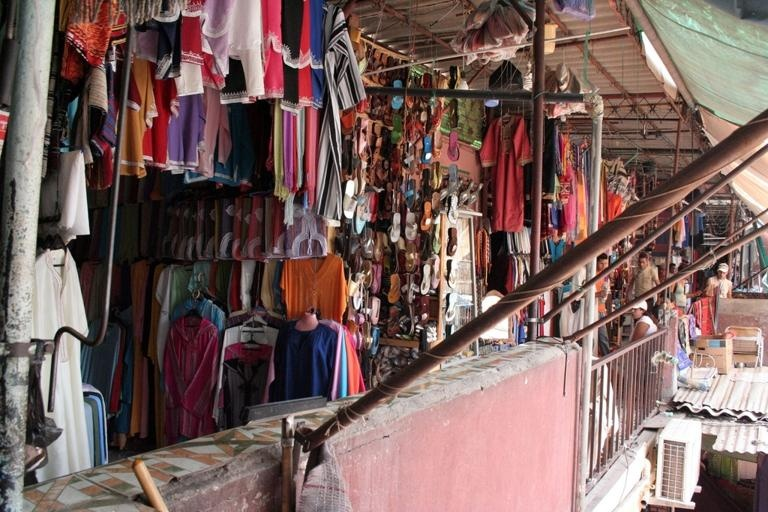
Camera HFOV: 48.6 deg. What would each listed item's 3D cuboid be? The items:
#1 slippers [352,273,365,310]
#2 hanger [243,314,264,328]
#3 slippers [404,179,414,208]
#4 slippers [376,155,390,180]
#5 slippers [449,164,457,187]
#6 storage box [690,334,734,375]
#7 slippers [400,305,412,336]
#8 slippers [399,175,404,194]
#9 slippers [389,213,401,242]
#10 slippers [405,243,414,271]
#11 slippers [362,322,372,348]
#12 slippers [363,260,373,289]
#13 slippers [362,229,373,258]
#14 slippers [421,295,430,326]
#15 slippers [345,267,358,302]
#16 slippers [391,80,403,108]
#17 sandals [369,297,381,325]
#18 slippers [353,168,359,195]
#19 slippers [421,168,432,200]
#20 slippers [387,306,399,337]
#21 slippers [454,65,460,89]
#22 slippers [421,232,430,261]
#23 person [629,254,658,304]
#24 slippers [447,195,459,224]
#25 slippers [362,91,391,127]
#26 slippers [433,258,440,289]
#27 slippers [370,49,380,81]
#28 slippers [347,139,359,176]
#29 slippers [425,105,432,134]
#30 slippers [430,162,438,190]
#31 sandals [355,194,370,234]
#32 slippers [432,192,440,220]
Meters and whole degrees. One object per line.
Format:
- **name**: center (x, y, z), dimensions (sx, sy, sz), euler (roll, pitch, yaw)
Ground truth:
- **slippers**: center (-0.239, 0.305, 7.702), dimensions (0.055, 0.305, 0.100), euler (-4, -12, 37)
- **hanger**: center (-1.124, 0.565, 7.411), dimensions (0.104, 0.070, 0.124), euler (2, -9, 17)
- **slippers**: center (0.250, -0.622, 8.462), dimensions (0.058, 0.287, 0.094), euler (0, 3, 33)
- **slippers**: center (0.008, -0.856, 8.275), dimensions (0.117, 0.210, 0.047), euler (3, 1, -39)
- **slippers**: center (0.715, -0.824, 8.749), dimensions (0.061, 0.276, 0.096), euler (2, -7, -4)
- **storage box**: center (4.530, 1.339, 11.691), dimensions (0.410, 0.539, 0.463), euler (-2, -5, 28)
- **slippers**: center (0.219, 0.644, 8.499), dimensions (0.088, 0.321, 0.103), euler (6, 10, 32)
- **slippers**: center (0.172, -0.700, 8.322), dimensions (0.038, 0.169, 0.054), euler (2, 0, -18)
- **slippers**: center (0.116, -0.282, 8.397), dimensions (0.092, 0.300, 0.066), euler (2, 12, -6)
- **slippers**: center (0.255, 0.010, 8.437), dimensions (0.096, 0.248, 0.069), euler (1, 6, 27)
- **slippers**: center (-0.159, 0.734, 7.971), dimensions (0.046, 0.213, 0.112), euler (4, -4, -8)
- **slippers**: center (-0.165, 0.160, 8.127), dimensions (0.042, 0.256, 0.155), euler (0, -5, 31)
- **slippers**: center (-0.156, -0.120, 8.017), dimensions (0.084, 0.271, 0.056), euler (0, -5, -27)
- **slippers**: center (0.415, 0.528, 8.563), dimensions (0.061, 0.263, 0.144), euler (-2, 4, 19)
- **slippers**: center (-0.293, 0.240, 7.676), dimensions (0.091, 0.312, 0.068), euler (17, -29, -41)
- **slippers**: center (0.133, -1.542, 8.231), dimensions (0.094, 0.282, 0.097), euler (-1, 16, -7)
- **sandals**: center (-0.088, 0.529, 8.325), dimensions (0.041, 0.259, 0.109), euler (4, 3, 41)
- **slippers**: center (-0.242, -0.672, 7.656), dimensions (0.047, 0.232, 0.027), euler (0, -4, -13)
- **slippers**: center (0.424, -0.724, 8.560), dimensions (0.080, 0.314, 0.068), euler (0, 2, 6)
- **slippers**: center (0.091, 0.645, 8.570), dimensions (0.088, 0.313, 0.105), euler (3, 9, 20)
- **slippers**: center (0.734, -1.819, 8.639), dimensions (0.051, 0.256, 0.074), euler (1, -1, 21)
- **slippers**: center (0.415, -0.097, 8.520), dimensions (0.108, 0.283, 0.050), euler (2, -4, 2)
- **person**: center (4.122, 0.496, 13.429), dimensions (0.441, 1.210, 0.291), euler (4, 21, 26)
- **slippers**: center (0.713, -0.483, 8.802), dimensions (0.071, 0.290, 0.116), euler (7, 10, 44)
- **slippers**: center (-0.023, -1.423, 8.303), dimensions (0.187, 0.330, 0.095), euler (6, -1, -28)
- **slippers**: center (0.530, 0.168, 8.576), dimensions (0.083, 0.301, 0.064), euler (-7, 7, -42)
- **slippers**: center (-0.067, -1.939, 8.681), dimensions (0.138, 0.318, 0.092), euler (-3, 8, -36)
- **slippers**: center (-0.278, -0.877, 7.671), dimensions (0.084, 0.343, 0.114), euler (1, 7, 1)
- **slippers**: center (0.442, -1.347, 8.383), dimensions (0.056, 0.259, 0.086), euler (2, -4, 3)
- **slippers**: center (0.509, -0.816, 8.674), dimensions (0.062, 0.257, 0.087), euler (-1, -9, 2)
- **sandals**: center (-0.198, -0.388, 7.806), dimensions (0.109, 0.393, 0.108), euler (8, -8, -38)
- **slippers**: center (0.526, -0.509, 8.618), dimensions (0.071, 0.268, 0.060), euler (2, -6, -12)
